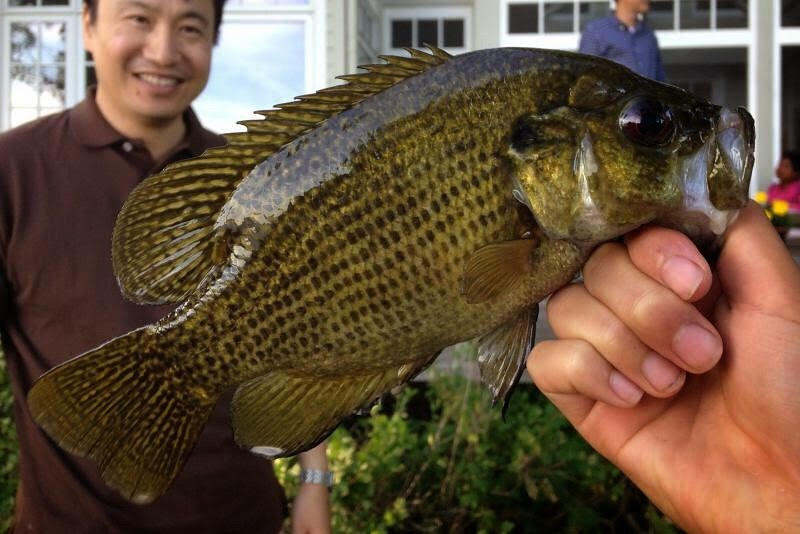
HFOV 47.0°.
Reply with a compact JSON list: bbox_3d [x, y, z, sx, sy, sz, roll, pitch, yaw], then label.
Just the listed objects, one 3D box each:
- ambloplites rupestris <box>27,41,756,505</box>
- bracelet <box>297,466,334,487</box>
[{"bbox_3d":[-0.028,-0.056,3.528,2.836,1.435,0.700,-23,17,2],"label":"ambloplites rupestris"},{"bbox_3d":[-0.420,1.043,4.574,0.136,0.088,0.134,8,-17,-17],"label":"bracelet"}]
